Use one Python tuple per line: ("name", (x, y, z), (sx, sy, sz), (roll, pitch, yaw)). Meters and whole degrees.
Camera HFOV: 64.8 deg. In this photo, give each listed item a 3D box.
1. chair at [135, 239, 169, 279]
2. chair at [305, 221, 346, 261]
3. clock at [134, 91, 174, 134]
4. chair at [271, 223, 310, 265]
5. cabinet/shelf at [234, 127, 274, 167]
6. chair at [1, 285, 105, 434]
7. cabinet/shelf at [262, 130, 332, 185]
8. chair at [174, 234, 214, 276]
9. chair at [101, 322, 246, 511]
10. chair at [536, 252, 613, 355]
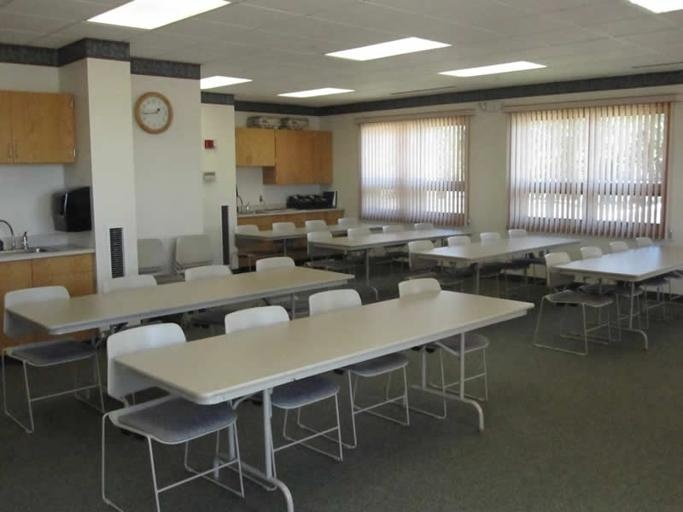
("chair", (-2.399, 0.010, 6.829), (0.497, 0.506, 0.396), (-2, 4, -36))
("chair", (-0.262, -0.239, 7.994), (0.609, 0.796, 0.566), (-2, 3, -33))
("clock", (-2.355, -1.792, 6.700), (0.074, 0.573, 0.567), (8, 5, 38))
("chair", (-0.847, -0.173, 8.735), (0.735, 0.710, 0.494), (-3, 6, -39))
("cabinet/shelf", (-1.695, -2.102, 10.292), (0.919, 0.792, 0.288), (-4, 6, -43))
("chair", (-2.450, 0.733, 4.477), (0.744, 1.001, 1.405), (-8, 10, -32))
("cabinet/shelf", (-0.839, -2.070, 11.279), (0.317, 1.060, 1.652), (5, 12, 44))
("chair", (-2.066, -0.065, 7.574), (0.566, 0.732, 0.497), (-5, 11, -30))
("chair", (-1.056, 0.931, 3.217), (0.770, 0.983, 0.970), (-9, 10, -33))
("chair", (2.734, 0.584, 6.258), (0.719, 1.098, 0.982), (2, 5, 39))
